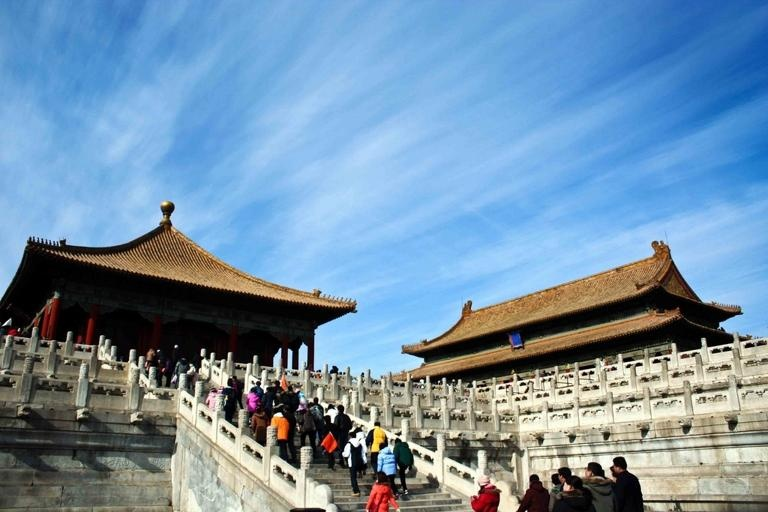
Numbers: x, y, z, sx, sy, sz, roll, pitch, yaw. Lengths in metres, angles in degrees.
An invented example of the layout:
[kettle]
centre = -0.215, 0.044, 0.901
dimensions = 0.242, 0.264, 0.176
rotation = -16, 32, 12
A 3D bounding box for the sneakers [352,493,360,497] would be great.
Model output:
[sneakers]
centre = -0.715, 6.107, 13.252
dimensions = 0.213, 0.085, 0.071
rotation = 6, -26, -5
